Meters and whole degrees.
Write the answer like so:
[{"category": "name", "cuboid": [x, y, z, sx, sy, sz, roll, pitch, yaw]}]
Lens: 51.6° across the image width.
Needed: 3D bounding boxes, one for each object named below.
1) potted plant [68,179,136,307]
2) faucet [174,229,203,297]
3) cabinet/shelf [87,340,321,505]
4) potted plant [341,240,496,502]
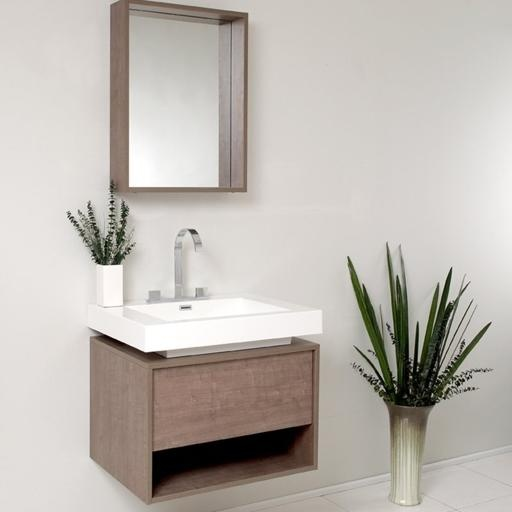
[{"category": "potted plant", "cuboid": [-0.535, -0.045, 1.870, 0.236, 0.438, 0.173, -4, 7, -22]}, {"category": "faucet", "cuboid": [-0.259, 0.035, 1.970, 0.085, 0.271, 0.282, -3, 6, -12]}, {"category": "cabinet/shelf", "cuboid": [-0.213, 0.363, 1.852, 0.728, 0.523, 0.489, 0, -1, -31]}, {"category": "potted plant", "cuboid": [0.827, 0.538, 2.496, 0.788, 1.188, 0.520, -6, 8, -36]}]
